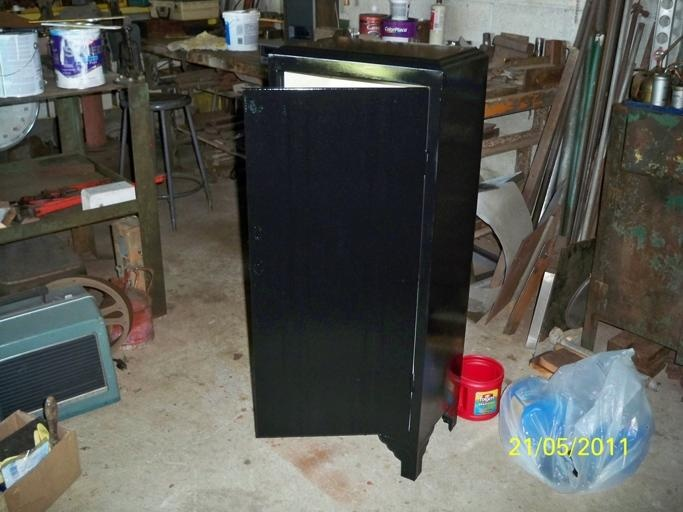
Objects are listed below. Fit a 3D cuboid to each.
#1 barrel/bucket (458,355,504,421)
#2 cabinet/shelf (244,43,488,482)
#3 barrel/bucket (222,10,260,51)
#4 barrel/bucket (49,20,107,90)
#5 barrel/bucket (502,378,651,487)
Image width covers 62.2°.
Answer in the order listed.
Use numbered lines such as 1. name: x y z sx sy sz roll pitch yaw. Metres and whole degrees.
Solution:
1. barrel/bucket: 0.634 0.612 2.587 0.217 0.206 0.203 -3 32 2
2. cabinet/shelf: 0.093 0.062 2.214 0.790 1.636 0.560 6 25 13
3. barrel/bucket: -0.717 -1.665 4.186 0.289 0.280 0.269 2 32 -1
4. barrel/bucket: -1.203 -0.958 2.725 0.256 0.297 0.262 5 29 -3
5. barrel/bucket: 0.966 0.719 2.348 0.601 0.345 0.362 9 26 18
